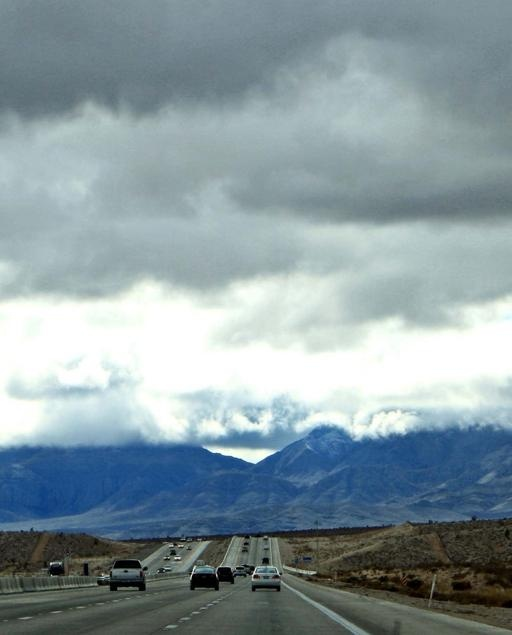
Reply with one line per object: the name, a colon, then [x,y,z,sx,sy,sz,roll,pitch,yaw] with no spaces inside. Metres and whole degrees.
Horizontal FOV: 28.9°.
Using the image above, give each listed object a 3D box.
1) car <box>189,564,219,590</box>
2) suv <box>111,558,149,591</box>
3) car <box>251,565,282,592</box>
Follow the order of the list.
car: [-3.163,16.234,61.011,1.653,1.473,1.591,0,1,-5]
suv: [-7.831,15.772,60.247,2.056,1.991,1.713,0,1,-9]
car: [0.626,15.895,59.909,1.154,0.888,2.657,0,-3,1]
